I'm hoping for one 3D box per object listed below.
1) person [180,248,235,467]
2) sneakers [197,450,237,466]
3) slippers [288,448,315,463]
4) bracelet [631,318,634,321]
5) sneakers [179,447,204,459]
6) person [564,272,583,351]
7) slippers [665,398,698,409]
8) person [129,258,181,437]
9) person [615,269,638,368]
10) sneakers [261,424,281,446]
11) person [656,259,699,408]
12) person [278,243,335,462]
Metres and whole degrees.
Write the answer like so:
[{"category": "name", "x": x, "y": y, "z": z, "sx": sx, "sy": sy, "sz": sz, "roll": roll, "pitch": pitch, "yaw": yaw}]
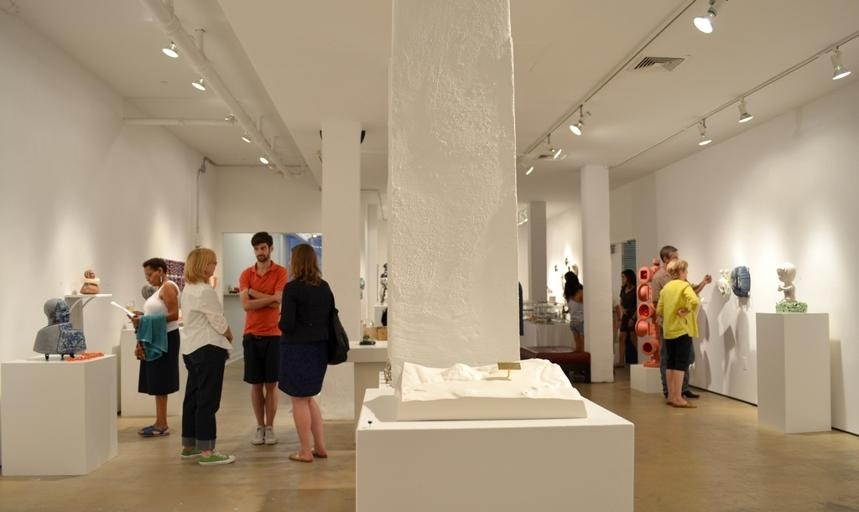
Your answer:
[{"category": "person", "x": -2.583, "y": 1.125, "z": 6.691, "sx": 0.574, "sy": 2.486, "sz": 0.555, "roll": 2, "pitch": -7, "yaw": -22}, {"category": "sneakers", "x": -2.437, "y": 2.308, "z": 6.671, "sx": 0.418, "sy": 0.155, "sz": 0.164, "roll": 3, "pitch": -8, "yaw": -12}, {"category": "slippers", "x": -1.482, "y": 2.274, "z": 6.669, "sx": 0.251, "sy": 0.103, "sz": 0.129, "roll": -1, "pitch": -6, "yaw": 42}, {"category": "bracelet", "x": 4.036, "y": 1.250, "z": 11.502, "sx": 0.035, "sy": 0.033, "sz": 0.062, "roll": -9, "pitch": -12, "yaw": 2}, {"category": "sneakers", "x": -2.744, "y": 2.275, "z": 6.733, "sx": 0.302, "sy": 0.122, "sz": 0.117, "roll": 2, "pitch": -8, "yaw": -11}, {"category": "person", "x": 2.816, "y": 1.043, "z": 11.266, "sx": 0.318, "sy": 1.513, "sz": 0.857, "roll": -2, "pitch": -6, "yaw": 10}, {"category": "slippers", "x": 3.782, "y": 2.199, "z": 8.670, "sx": 0.331, "sy": 0.077, "sz": 0.149, "roll": -1, "pitch": -5, "yaw": 4}, {"category": "person", "x": -3.520, "y": 1.158, "z": 7.429, "sx": 0.573, "sy": 2.278, "sz": 0.850, "roll": 2, "pitch": -7, "yaw": -27}, {"category": "person", "x": 4.020, "y": 1.229, "z": 11.718, "sx": 0.387, "sy": 1.920, "sz": 0.632, "roll": -3, "pitch": -7, "yaw": 18}, {"category": "sneakers", "x": -2.002, "y": 2.232, "z": 7.184, "sx": 0.116, "sy": 0.127, "sz": 0.284, "roll": 0, "pitch": -3, "yaw": -8}, {"category": "person", "x": 3.827, "y": 1.168, "z": 8.916, "sx": 0.578, "sy": 2.221, "sz": 0.732, "roll": -3, "pitch": -7, "yaw": 20}, {"category": "person", "x": -1.417, "y": 1.106, "z": 6.635, "sx": 0.587, "sy": 2.463, "sz": 0.603, "roll": 0, "pitch": -7, "yaw": -13}]
